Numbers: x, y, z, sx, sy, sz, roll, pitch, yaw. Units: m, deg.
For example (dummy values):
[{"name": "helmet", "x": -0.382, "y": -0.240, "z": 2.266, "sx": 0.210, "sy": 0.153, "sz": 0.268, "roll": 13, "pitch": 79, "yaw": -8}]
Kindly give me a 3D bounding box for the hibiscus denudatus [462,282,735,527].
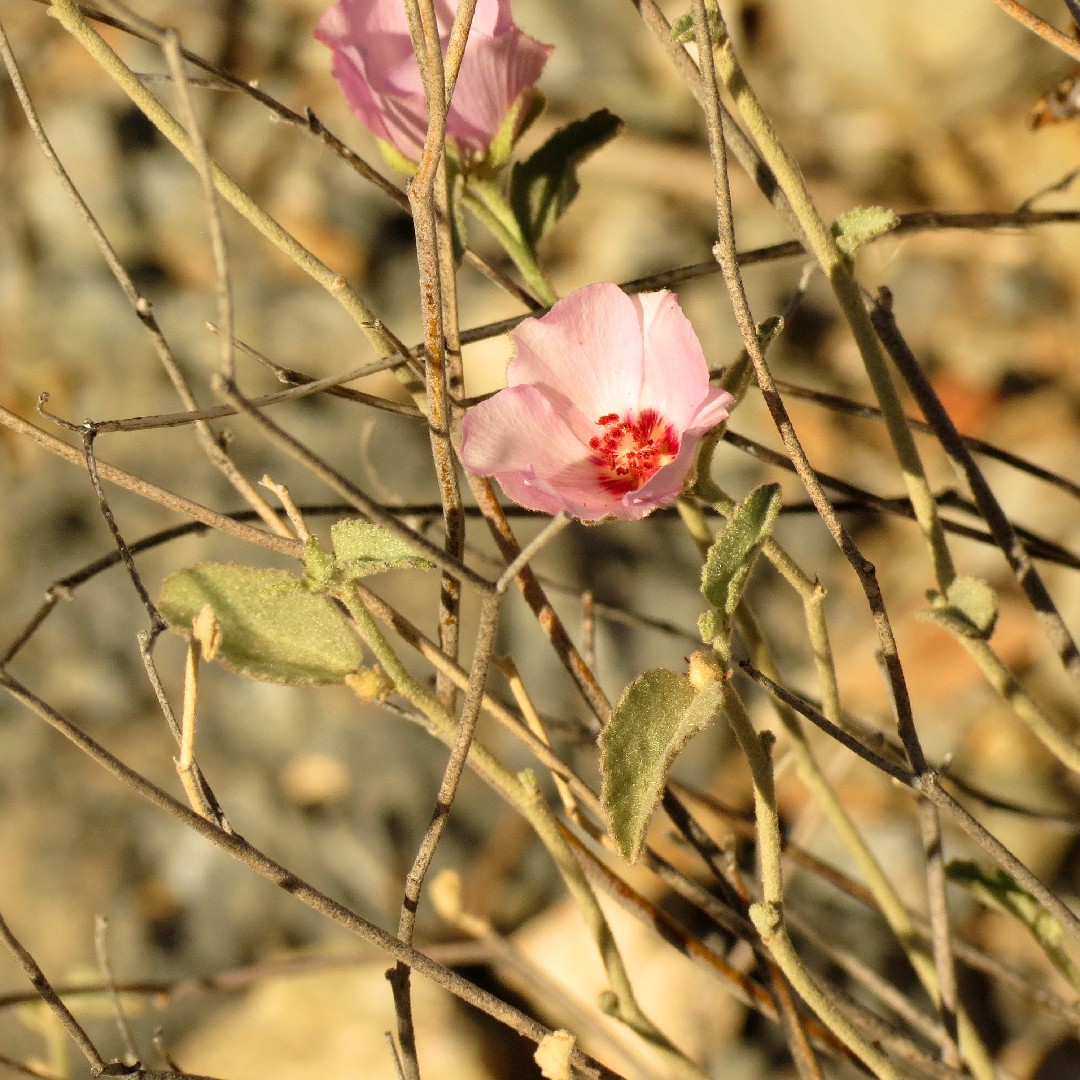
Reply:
[{"name": "hibiscus denudatus", "x": 0.042, "y": -0.043, "z": 0.575, "sx": 0.105, "sy": 0.053, "sz": 0.104, "roll": -35, "pitch": -118, "yaw": 19}]
